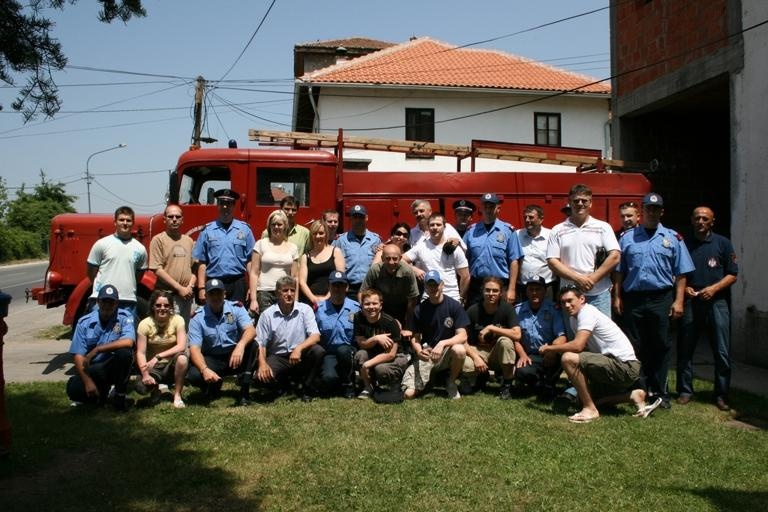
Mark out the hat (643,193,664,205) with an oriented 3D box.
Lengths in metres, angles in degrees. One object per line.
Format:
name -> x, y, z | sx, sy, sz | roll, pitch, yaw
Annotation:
hat -> 4.022, -0.841, 10.248 | 0.256, 0.186, 0.323 | 0, 3, 18

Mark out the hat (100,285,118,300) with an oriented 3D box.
hat -> -4.033, 0.526, 9.991 | 0.255, 0.208, 0.175 | -2, 3, -28

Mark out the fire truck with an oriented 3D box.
fire truck -> -0.198, -0.699, 13.879 | 10.135, 3.308, 2.235 | -1, -3, -4

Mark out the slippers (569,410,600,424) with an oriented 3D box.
slippers -> 2.768, 2.219, 9.488 | 0.320, 0.107, 0.176 | 0, -9, -11

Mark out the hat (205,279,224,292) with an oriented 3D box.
hat -> -2.531, 0.426, 10.212 | 0.259, 0.165, 0.249 | -2, 3, -16
